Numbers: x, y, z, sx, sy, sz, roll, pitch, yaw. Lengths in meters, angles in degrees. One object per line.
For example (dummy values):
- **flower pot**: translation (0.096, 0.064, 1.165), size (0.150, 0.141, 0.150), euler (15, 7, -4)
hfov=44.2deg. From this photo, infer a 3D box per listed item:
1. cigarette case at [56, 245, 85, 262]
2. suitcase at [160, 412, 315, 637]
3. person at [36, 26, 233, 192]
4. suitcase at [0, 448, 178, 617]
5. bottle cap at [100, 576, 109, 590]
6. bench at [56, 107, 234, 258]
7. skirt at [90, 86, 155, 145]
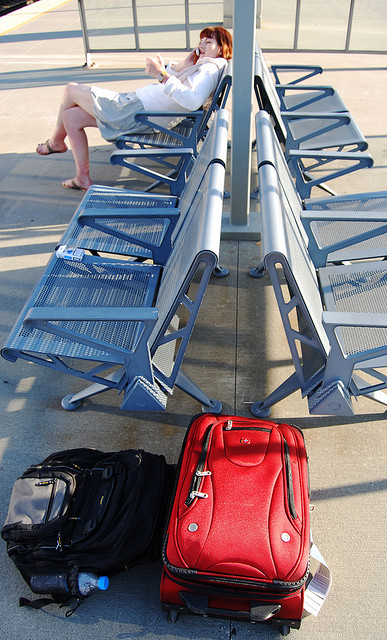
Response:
- **cigarette case**: translation (-0.602, -0.325, 2.311), size (0.103, 0.031, 0.075), euler (7, 47, 5)
- **suitcase**: translation (0.128, 0.571, 1.380), size (0.386, 0.295, 0.609), euler (6, 57, 7)
- **person**: translation (-0.497, -1.623, 3.649), size (1.545, 1.308, 0.685), euler (5, 18, -4)
- **suitcase**: translation (-0.343, 0.651, 1.578), size (0.566, 0.172, 0.421), euler (-6, 35, -2)
- **bottle cap**: translation (-0.271, 0.797, 1.443), size (0.024, 0.035, 0.031), euler (2, 14, 13)
- **bench**: translation (-0.286, -0.691, 2.648), size (0.699, 0.438, 1.034), euler (8, 29, -12)
- **skirt**: translation (-0.568, -1.516, 3.504), size (0.458, 0.309, 0.176), euler (20, 9, 34)
